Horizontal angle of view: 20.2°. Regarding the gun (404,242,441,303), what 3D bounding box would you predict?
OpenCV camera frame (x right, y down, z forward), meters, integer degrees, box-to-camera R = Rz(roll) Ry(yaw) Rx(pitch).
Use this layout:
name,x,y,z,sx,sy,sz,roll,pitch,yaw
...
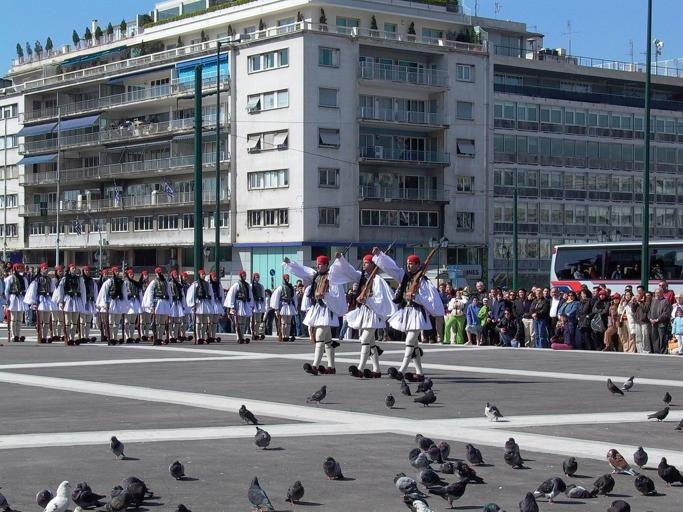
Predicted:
name,x,y,z,sx,sy,sz,roll,pitch,yaw
gun,3.971,0.294,93.946,0.758,3.849,0.273,37,1,25

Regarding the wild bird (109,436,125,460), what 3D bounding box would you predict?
name,x,y,z,sx,sy,sz,roll,pitch,yaw
wild bird,-8.125,6.763,69.430,0.332,0.610,1.011,-10,-39,-1

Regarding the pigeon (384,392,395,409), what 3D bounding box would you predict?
name,x,y,z,sx,sy,sz,roll,pitch,yaw
pigeon,1.860,5.312,73.536,0.296,0.544,0.229,-3,-17,9

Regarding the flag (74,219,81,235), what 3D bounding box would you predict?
name,x,y,z,sx,sy,sz,roll,pitch,yaw
flag,-19.490,-2.901,141.655,0.567,1.224,1.688,-1,-1,-10
